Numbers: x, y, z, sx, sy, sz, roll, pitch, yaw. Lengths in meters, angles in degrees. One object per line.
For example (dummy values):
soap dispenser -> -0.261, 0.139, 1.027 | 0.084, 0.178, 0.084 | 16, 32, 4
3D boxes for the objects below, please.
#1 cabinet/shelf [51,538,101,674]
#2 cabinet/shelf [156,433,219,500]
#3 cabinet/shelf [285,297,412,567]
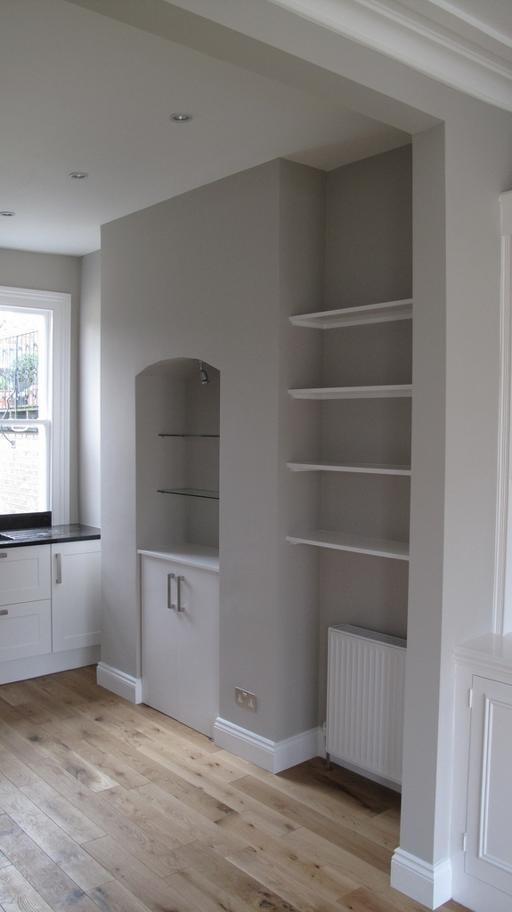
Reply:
cabinet/shelf -> -1.076, 0.854, 4.185 | 0.085, 0.458, 0.326 | 0, 0, 39
cabinet/shelf -> -0.372, 0.051, 3.787 | 0.101, 0.292, 0.315 | 1, 2, -43
cabinet/shelf -> 0.415, -0.080, 2.629 | 0.306, 0.974, 0.778 | 0, 0, -31
